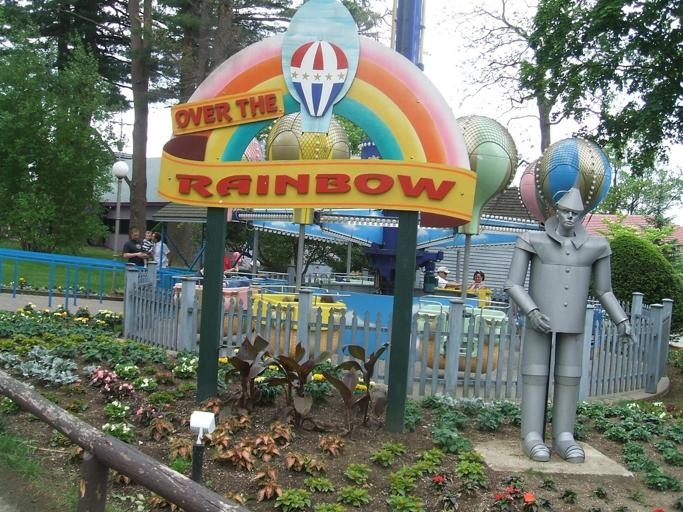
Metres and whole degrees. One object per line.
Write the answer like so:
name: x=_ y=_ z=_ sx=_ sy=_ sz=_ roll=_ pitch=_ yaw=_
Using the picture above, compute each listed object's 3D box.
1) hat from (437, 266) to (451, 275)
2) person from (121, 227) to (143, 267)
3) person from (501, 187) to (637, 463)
hat: x=3.555 y=0.529 z=20.177 sx=0.558 sy=0.301 sz=0.447 roll=2 pitch=0 yaw=31
person: x=-5.491 y=-0.226 z=15.307 sx=0.514 sy=0.853 sz=1.950 roll=5 pitch=-3 yaw=-20
person: x=2.476 y=0.721 z=6.578 sx=1.275 sy=3.109 sz=0.459 roll=4 pitch=-3 yaw=-6
